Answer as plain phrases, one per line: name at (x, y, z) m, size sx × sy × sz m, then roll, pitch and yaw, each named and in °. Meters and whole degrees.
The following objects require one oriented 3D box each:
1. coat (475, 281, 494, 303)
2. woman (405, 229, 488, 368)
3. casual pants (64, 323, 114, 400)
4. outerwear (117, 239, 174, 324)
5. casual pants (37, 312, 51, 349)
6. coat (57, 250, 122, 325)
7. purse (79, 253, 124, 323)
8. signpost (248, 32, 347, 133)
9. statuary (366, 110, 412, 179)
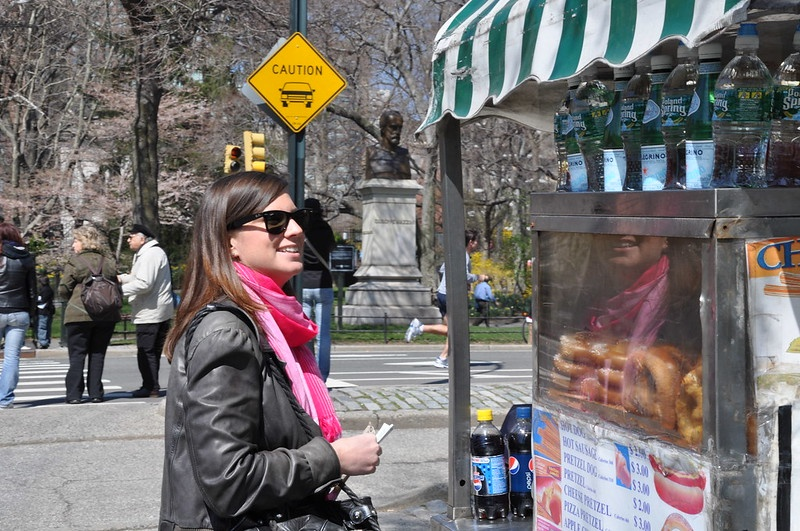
coat at (1.664, 0.517, 21.542) m, size 0.298 × 0.372 × 0.475 m, roll -23°, pitch 23°, yaw -39°
woman at (0.734, 0.492, 15.500) m, size 1.203 × 2.006 × 0.681 m, roll 4°, pitch 1°, yaw 5°
casual pants at (-3.703, 0.989, 12.603) m, size 0.555 × 1.191 × 0.406 m, roll 1°, pitch 8°, yaw -38°
outerwear at (-2.993, 0.175, 12.647) m, size 0.900 × 1.065 × 0.978 m, roll 1°, pitch 2°, yaw -3°
casual pants at (-6.639, 1.178, 19.729) m, size 0.238 × 0.643 × 0.544 m, roll -2°, pitch 1°, yaw -20°
coat at (-3.680, 0.246, 12.593) m, size 0.706 × 0.847 × 0.517 m, roll 1°, pitch -11°, yaw -44°
purse at (-3.477, 0.193, 12.235) m, size 0.391 × 0.594 × 0.303 m, roll -5°, pitch -1°, yaw -16°
signpost at (-1.103, -1.907, 10.977) m, size 1.045 × 1.058 × 0.235 m, roll -2°, pitch 1°, yaw -16°
statuary at (-0.333, -2.653, 23.398) m, size 0.917 × 1.474 × 0.987 m, roll -1°, pitch 1°, yaw 0°
